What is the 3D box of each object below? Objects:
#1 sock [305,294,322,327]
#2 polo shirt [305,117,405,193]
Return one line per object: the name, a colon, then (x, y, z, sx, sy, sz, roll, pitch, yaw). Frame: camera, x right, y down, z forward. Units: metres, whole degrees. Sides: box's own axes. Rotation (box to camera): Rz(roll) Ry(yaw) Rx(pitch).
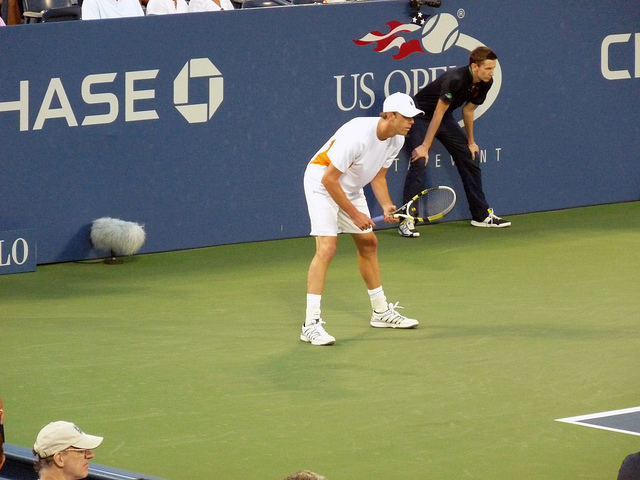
sock: (-0.067, 0.590, 8.795, 0.146, 0.196, 0.092, -4, -2, 6)
polo shirt: (0.294, -0.719, 8.814, 0.823, 0.462, 0.542, -4, -2, -1)
